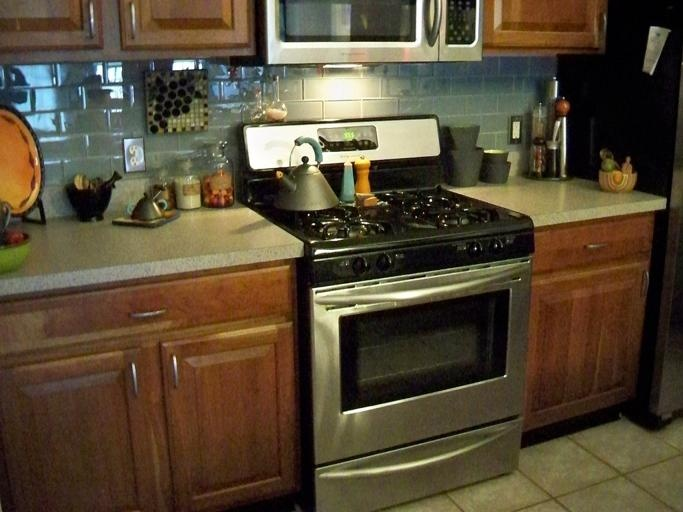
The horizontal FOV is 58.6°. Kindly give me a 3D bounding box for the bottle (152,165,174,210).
[{"bbox_3d":[-0.763,-0.285,2.604,0.090,0.163,0.129,-9,22,-17],"label":"bottle"}]

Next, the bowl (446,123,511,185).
[{"bbox_3d":[0.658,-0.496,2.965,0.333,0.272,0.256,0,10,-2],"label":"bowl"}]

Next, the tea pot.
[{"bbox_3d":[-0.146,-0.333,2.385,0.271,0.272,0.244,-18,23,-38],"label":"tea pot"}]

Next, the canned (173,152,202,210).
[{"bbox_3d":[-0.662,-0.318,2.630,0.122,0.227,0.125,-12,24,-31],"label":"canned"}]

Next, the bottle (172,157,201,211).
[{"bbox_3d":[-0.668,-0.314,2.630,0.119,0.223,0.123,0,19,0],"label":"bottle"}]

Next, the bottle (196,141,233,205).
[{"bbox_3d":[-0.541,-0.360,2.683,0.157,0.295,0.166,-1,7,0],"label":"bottle"}]

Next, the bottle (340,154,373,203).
[{"bbox_3d":[0.059,-0.342,2.692,0.098,0.246,0.182,9,14,39],"label":"bottle"}]

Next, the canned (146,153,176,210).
[{"bbox_3d":[-0.778,-0.303,2.661,0.114,0.209,0.117,-2,3,-16],"label":"canned"}]

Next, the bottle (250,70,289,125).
[{"bbox_3d":[-0.321,-0.693,2.686,0.175,0.185,0.137,-7,22,-12],"label":"bottle"}]

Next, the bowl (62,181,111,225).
[{"bbox_3d":[-1.008,-0.210,2.425,0.154,0.125,0.157,0,16,0],"label":"bowl"}]

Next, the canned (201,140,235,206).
[{"bbox_3d":[-0.546,-0.361,2.666,0.164,0.296,0.168,11,19,29],"label":"canned"}]
